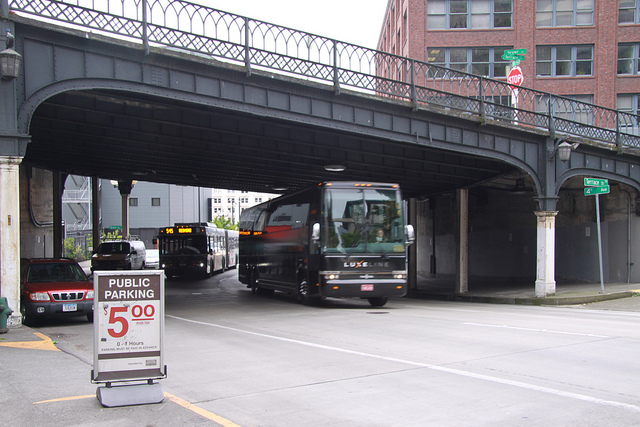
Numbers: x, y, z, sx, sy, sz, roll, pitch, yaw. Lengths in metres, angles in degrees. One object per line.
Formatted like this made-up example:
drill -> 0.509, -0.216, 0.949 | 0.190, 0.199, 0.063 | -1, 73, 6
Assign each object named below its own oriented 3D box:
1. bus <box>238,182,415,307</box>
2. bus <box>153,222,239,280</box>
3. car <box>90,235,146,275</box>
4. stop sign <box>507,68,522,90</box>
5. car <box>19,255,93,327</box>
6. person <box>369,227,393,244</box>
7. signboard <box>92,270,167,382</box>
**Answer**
bus -> -0.377, 1.552, 34.980 | 4.026, 4.669, 13.104 | 1, -3, -21
bus -> -8.124, 2.442, 52.166 | 3.539, 3.516, 12.434 | -1, -2, 4
car -> -11.567, 2.426, 43.003 | 2.385, 2.327, 5.664 | 0, -1, -8
stop sign -> 9.787, -6.806, 37.850 | 0.469, 0.888, 1.116 | -1, 3, 2
car -> -9.789, 2.603, 26.809 | 2.366, 2.210, 4.745 | 1, 0, -37
person -> 2.295, 0.891, 28.942 | 0.891, 0.625, 0.167 | -1, 3, -3
signboard -> -4.446, 2.599, 17.301 | 1.622, 2.482, 0.259 | -1, 3, -10
